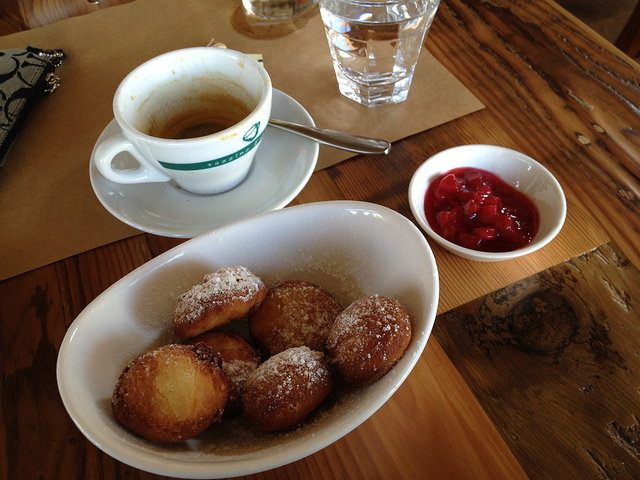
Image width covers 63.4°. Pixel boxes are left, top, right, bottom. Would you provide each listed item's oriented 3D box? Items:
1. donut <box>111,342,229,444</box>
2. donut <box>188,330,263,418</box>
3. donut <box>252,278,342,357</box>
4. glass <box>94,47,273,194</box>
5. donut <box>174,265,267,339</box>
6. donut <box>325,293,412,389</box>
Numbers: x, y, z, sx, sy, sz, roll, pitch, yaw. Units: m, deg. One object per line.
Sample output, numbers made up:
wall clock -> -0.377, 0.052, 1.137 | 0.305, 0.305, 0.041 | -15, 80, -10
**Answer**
donut -> -0.196, 0.199, 0.686 | 0.155, 0.100, 0.145 | -7, 40, -10
donut -> -0.129, 0.160, 0.691 | 0.098, 0.052, 0.099 | -26, 55, -36
donut -> -0.030, 0.114, 0.738 | 0.107, 0.061, 0.092 | -33, 55, -18
glass -> -0.249, -0.194, 0.959 | 0.333, 0.258, 0.275 | -11, 34, -18
donut -> -0.138, 0.099, 0.710 | 0.040, 0.100, 0.093 | 55, 44, -10
donut -> 0.065, 0.132, 0.714 | 0.097, 0.063, 0.123 | 34, 80, 13
